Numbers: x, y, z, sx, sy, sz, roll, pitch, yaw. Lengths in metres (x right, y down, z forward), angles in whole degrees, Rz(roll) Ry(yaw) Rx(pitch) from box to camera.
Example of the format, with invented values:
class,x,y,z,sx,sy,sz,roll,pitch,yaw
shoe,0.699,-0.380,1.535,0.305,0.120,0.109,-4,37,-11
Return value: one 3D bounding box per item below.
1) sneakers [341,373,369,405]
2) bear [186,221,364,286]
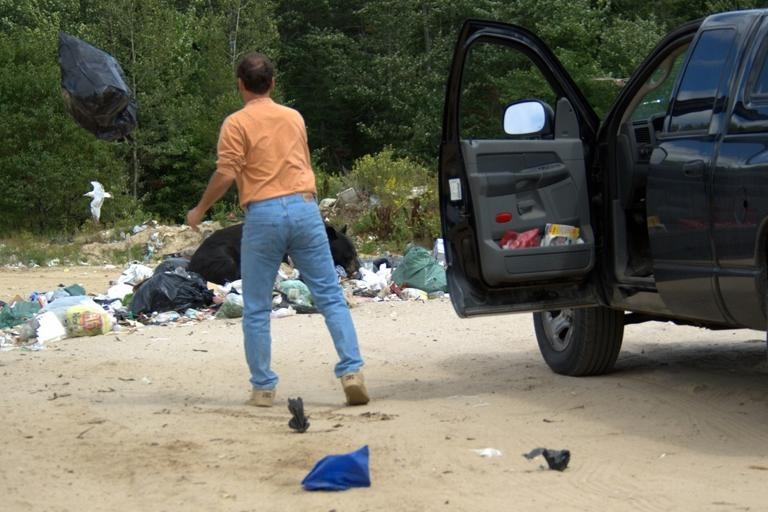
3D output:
class,x,y,z,sx,sy,sz,roll,pitch,yaw
sneakers,-0.247,1.134,7.343,0.171,0.364,0.162,-7,52,1
bear,-1.710,-0.047,13.794,2.875,1.140,1.325,-2,9,-11
